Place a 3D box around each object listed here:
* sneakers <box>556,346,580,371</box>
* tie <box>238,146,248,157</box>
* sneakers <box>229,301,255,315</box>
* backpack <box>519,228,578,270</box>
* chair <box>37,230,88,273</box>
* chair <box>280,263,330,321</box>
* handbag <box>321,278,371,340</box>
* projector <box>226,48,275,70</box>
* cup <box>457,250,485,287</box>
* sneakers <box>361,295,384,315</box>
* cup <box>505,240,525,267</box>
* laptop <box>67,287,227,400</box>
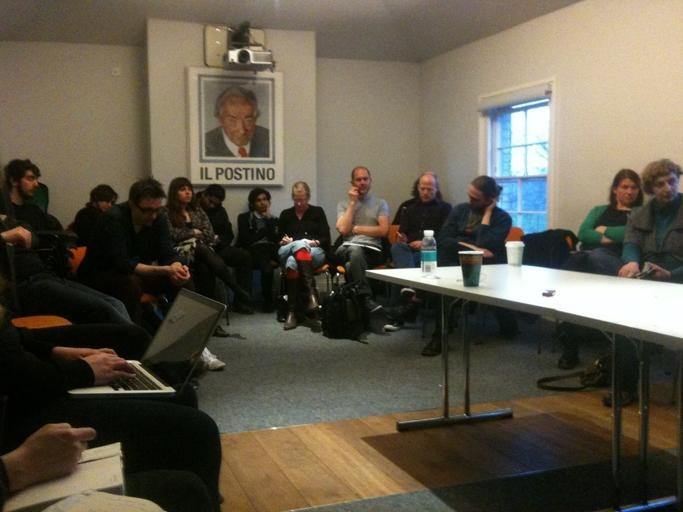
[{"bbox_3d":[1.507,0.685,3.551,0.184,0.176,0.094,1,-2,-29],"label":"sneakers"},{"bbox_3d":[-1.063,-1.123,5.836,0.078,0.111,0.035,-1,6,-7],"label":"tie"},{"bbox_3d":[-0.975,0.527,5.416,0.336,0.136,0.110,-2,-1,43],"label":"sneakers"},{"bbox_3d":[1.749,-0.106,4.686,0.371,0.522,0.475,0,4,-30],"label":"backpack"},{"bbox_3d":[-1.840,-0.037,3.504,0.291,0.340,0.297,-10,21,-27],"label":"chair"},{"bbox_3d":[-0.218,0.322,4.822,0.329,0.618,0.511,-1,-4,-42],"label":"chair"},{"bbox_3d":[0.060,0.461,4.417,0.369,0.479,0.329,4,-10,7],"label":"handbag"},{"bbox_3d":[-0.917,-1.996,5.478,0.304,0.116,0.300,-3,13,-23],"label":"projector"},{"bbox_3d":[0.562,0.057,2.383,0.152,0.166,0.135,0,1,1],"label":"cup"},{"bbox_3d":[0.322,0.465,5.244,0.170,0.084,0.275,-3,14,-23],"label":"sneakers"},{"bbox_3d":[0.999,-0.020,3.101,0.155,0.165,0.155,-1,3,0],"label":"cup"},{"bbox_3d":[-0.718,0.303,1.866,0.586,0.296,0.620,0,3,-5],"label":"laptop"}]
